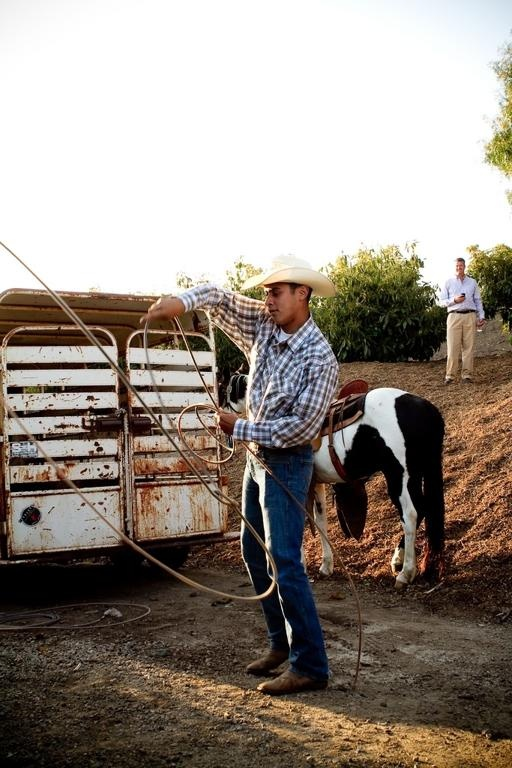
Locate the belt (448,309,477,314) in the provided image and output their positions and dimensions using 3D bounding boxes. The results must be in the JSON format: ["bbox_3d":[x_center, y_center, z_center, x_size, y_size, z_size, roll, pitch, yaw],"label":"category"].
[{"bbox_3d":[3.179,-1.110,10.038,0.400,0.087,0.179,-1,-7,10],"label":"belt"}]

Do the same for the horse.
[{"bbox_3d":[0.930,0.824,6.143,0.751,2.046,2.308,0,-12,-31],"label":"horse"}]

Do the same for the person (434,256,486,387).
[{"bbox_3d":[3.198,-0.964,10.181,0.626,1.861,0.920,-1,-6,16],"label":"person"}]

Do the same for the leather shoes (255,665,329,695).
[{"bbox_3d":[0.162,1.366,3.023,0.336,0.139,0.112,4,-10,-13],"label":"leather shoes"}]

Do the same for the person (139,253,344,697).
[{"bbox_3d":[0.024,0.405,3.227,0.735,2.083,0.637,0,-6,6],"label":"person"}]
